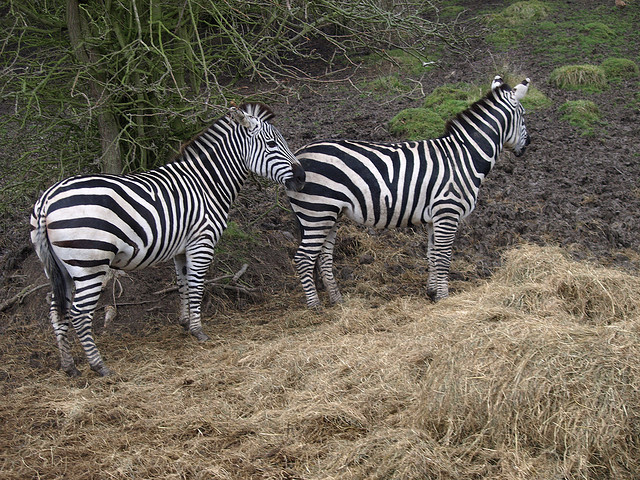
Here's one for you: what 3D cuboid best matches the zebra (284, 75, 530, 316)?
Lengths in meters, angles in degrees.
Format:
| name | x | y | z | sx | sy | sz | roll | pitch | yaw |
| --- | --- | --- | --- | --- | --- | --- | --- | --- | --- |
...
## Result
| name | x | y | z | sx | sy | sz | roll | pitch | yaw |
| --- | --- | --- | --- | --- | --- | --- | --- | --- | --- |
| zebra | 0.876 | -0.446 | 6.838 | 2.896 | 1.976 | 0.745 | -10 | 17 | -15 |

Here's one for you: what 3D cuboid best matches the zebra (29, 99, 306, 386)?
| name | x | y | z | sx | sy | sz | roll | pitch | yaw |
| --- | --- | --- | --- | --- | --- | --- | --- | --- | --- |
| zebra | -1.487 | 0.047 | 6.206 | 3.055 | 2.207 | 0.957 | -7 | 11 | -37 |
